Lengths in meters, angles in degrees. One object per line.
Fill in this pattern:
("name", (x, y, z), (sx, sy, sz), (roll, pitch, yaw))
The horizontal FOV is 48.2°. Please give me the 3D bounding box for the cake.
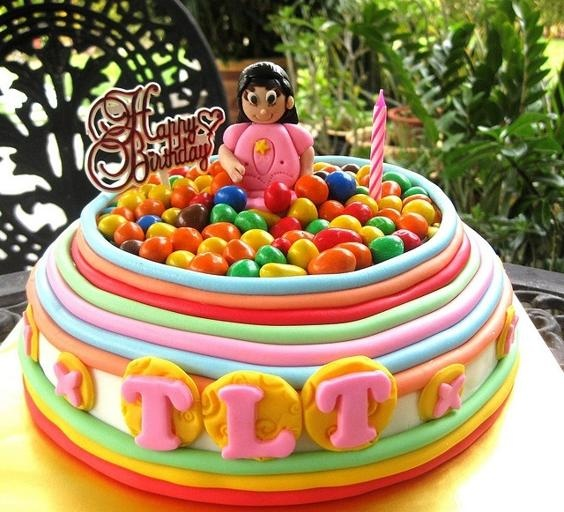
("cake", (-0.025, -0.005, 1.598), (1.339, 0.962, 0.767), (-3, 13, -8))
